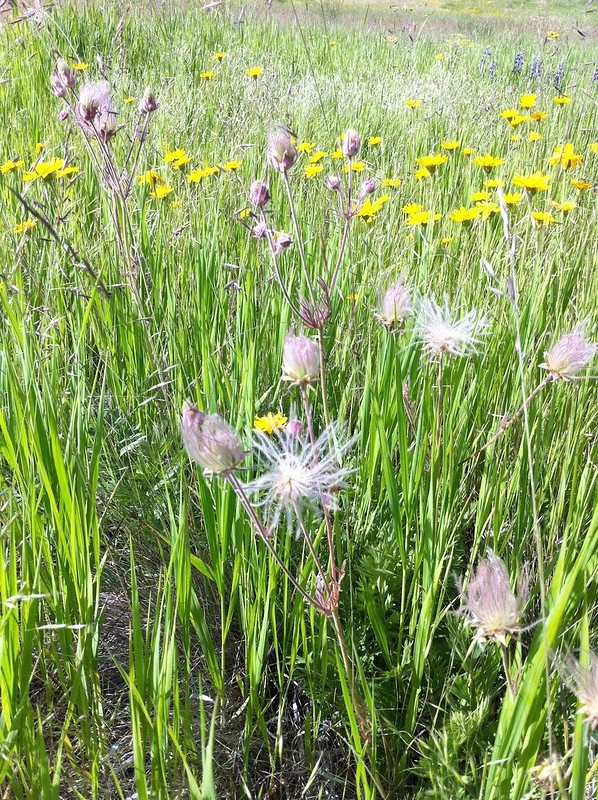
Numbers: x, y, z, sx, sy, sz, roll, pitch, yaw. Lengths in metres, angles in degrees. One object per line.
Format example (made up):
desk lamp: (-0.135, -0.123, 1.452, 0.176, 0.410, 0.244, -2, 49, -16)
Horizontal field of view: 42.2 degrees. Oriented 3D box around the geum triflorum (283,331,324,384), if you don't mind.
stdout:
geum triflorum: (0.005, -0.053, 0.946, 0.034, 0.073, 0.039, -4, 10, -38)
